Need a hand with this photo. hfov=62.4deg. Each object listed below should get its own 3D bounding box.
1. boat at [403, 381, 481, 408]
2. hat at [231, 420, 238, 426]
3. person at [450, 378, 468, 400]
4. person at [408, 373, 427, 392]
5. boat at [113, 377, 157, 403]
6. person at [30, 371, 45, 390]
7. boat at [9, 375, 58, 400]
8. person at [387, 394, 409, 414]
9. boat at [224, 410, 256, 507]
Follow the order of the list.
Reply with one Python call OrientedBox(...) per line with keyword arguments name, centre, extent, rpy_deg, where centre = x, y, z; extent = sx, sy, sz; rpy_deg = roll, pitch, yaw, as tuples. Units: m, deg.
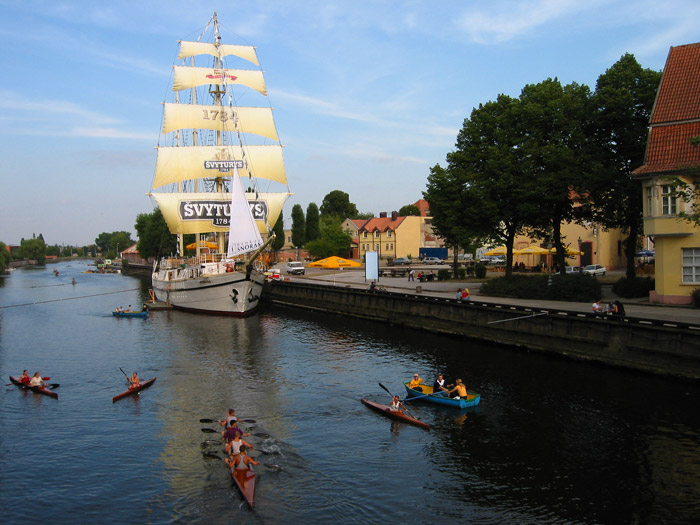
OrientedBox(name="boat", centre=(5.889, 8.865, 37.916), extent=(3.228, 0.692, 1.906), rpy_deg=(0, 0, 45))
OrientedBox(name="hat", centre=(-6.335, 8.718, 31.698), extent=(0.291, 0.274, 0.281), rpy_deg=(0, -13, 0))
OrientedBox(name="person", centre=(7.232, 8.430, 38.610), extent=(1.128, 1.742, 0.646), rpy_deg=(-2, 28, -2))
OrientedBox(name="person", centre=(4.699, 8.359, 40.449), extent=(0.962, 0.622, 1.599), rpy_deg=(-2, -5, 1))
OrientedBox(name="boat", centre=(-15.004, 8.955, 40.846), extent=(0.647, 0.491, 3.594), rpy_deg=(3, 10, 7))
OrientedBox(name="person", centre=(-22.617, 8.563, 42.018), extent=(1.124, 2.027, 0.749), rpy_deg=(0, -11, -22))
OrientedBox(name="boat", centre=(-22.340, 8.874, 41.265), extent=(2.960, 0.390, 1.940), rpy_deg=(9, -1, 38))
OrientedBox(name="person", centre=(3.055, 9.055, 37.147), extent=(0.806, 0.949, 0.467), rpy_deg=(-14, 32, 2))
OrientedBox(name="boat", centre=(-5.488, 9.814, 29.326), extent=(1.091, 1.079, 5.908), rpy_deg=(10, 16, -21))
